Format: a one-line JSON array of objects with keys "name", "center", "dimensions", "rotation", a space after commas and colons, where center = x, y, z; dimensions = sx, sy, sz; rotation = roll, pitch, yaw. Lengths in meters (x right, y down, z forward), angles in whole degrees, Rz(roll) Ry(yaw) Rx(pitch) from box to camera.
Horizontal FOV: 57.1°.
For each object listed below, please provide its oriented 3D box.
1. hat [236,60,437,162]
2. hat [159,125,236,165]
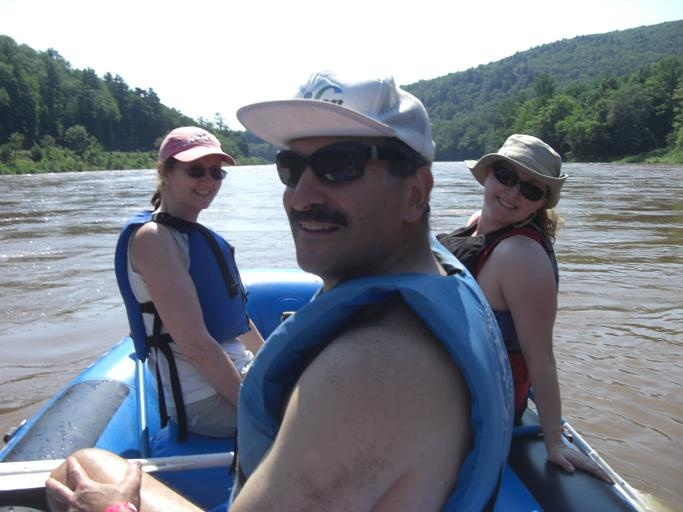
[{"name": "hat", "center": [0.024, -0.621, 2.740], "dimensions": [0.669, 0.352, 0.969], "rotation": [4, -4, 28]}, {"name": "hat", "center": [-1.073, -0.779, 4.387], "dimensions": [0.356, 0.261, 0.493], "rotation": [-9, -2, 29]}]
